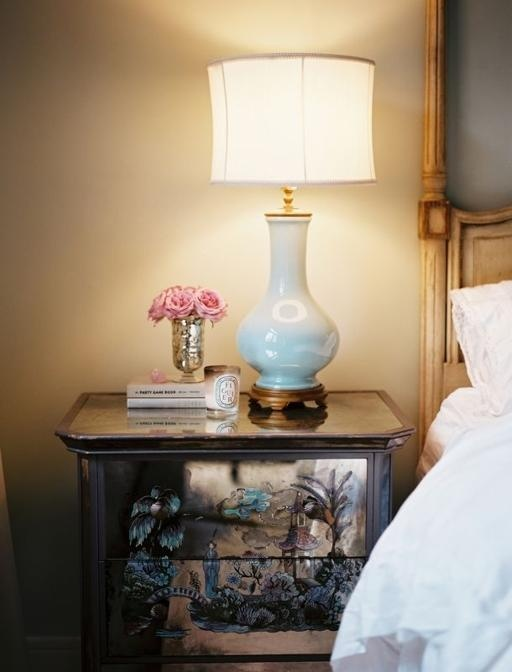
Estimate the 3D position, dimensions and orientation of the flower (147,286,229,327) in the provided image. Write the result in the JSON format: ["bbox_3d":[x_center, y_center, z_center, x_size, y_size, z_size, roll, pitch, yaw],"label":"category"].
[{"bbox_3d":[-0.149,-0.065,1.393,0.122,0.047,0.094,1,23,6],"label":"flower"}]
